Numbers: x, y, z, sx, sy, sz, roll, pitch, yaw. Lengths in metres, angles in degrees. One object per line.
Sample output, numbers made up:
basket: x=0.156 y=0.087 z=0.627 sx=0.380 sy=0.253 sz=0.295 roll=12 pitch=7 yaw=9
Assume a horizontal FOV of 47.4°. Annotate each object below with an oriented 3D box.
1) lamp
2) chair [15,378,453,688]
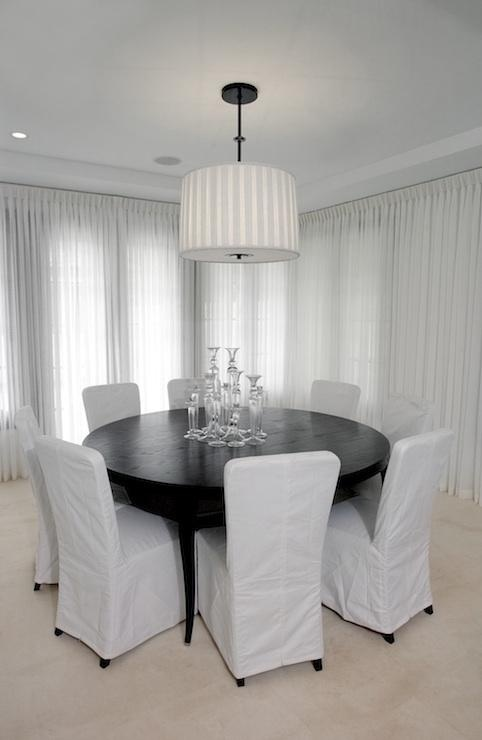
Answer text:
lamp: x=-0.004 y=-0.933 z=2.622 sx=0.560 sy=0.839 sz=0.563 roll=0 pitch=0 yaw=-44
chair: x=-0.021 y=0.751 z=2.232 sx=1.228 sy=0.623 sz=1.264 roll=-5 pitch=14 yaw=-21
